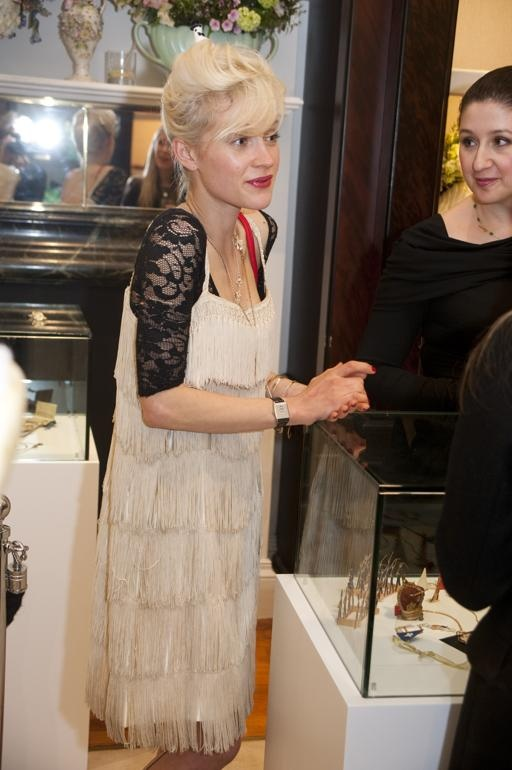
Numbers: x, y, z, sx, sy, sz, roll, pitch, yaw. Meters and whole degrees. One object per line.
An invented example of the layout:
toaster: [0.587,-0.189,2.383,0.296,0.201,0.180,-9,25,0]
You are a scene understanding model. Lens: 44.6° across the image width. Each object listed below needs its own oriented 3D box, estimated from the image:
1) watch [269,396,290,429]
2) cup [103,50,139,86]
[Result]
watch: [0.043,0.050,1.115,0.028,0.053,0.049,-9,4,-10]
cup: [-0.484,-1.150,2.309,0.121,0.147,0.126,1,12,0]
